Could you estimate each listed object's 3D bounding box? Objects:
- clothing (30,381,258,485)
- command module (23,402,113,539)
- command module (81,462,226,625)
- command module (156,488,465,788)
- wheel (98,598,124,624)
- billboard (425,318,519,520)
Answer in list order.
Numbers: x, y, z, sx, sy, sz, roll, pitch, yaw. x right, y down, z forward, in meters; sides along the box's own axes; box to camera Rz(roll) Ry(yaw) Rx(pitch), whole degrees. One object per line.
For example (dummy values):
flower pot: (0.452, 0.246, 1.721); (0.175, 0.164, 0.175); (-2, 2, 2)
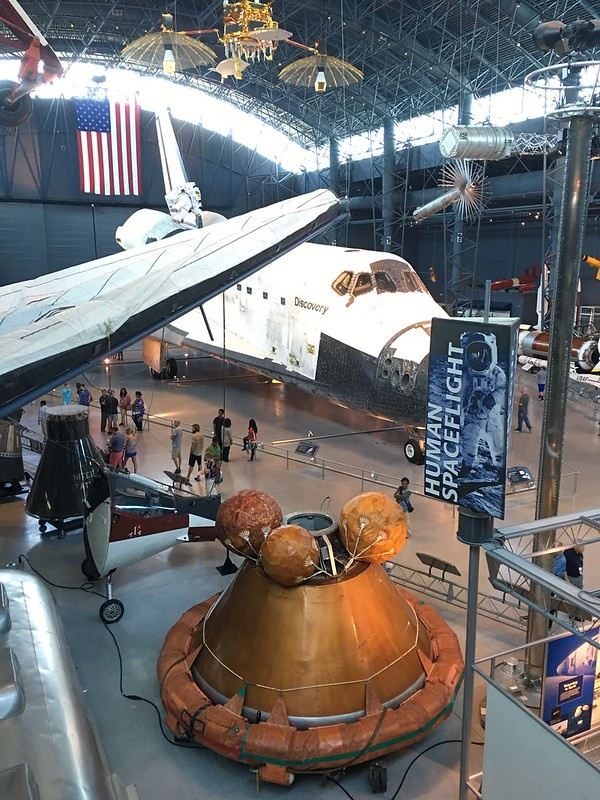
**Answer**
clothing: (-4.042, 0.871, 16.407); (7.571, 2.711, 2.051); (2, 13, -5)
command module: (-4.827, 1.348, 12.636); (2.101, 2.331, 2.041); (0, 9, -21)
command module: (-2.829, 2.224, 10.279); (2.969, 2.134, 1.700); (2, 3, -38)
command module: (0.079, 2.726, 7.482); (3.143, 2.267, 3.097); (-1, 6, -3)
wheel: (-2.817, 3.155, 9.252); (0.321, 0.314, 0.111); (19, -6, -42)
billboard: (1.439, 0.140, 5.343); (0.156, 1.664, 0.924); (-9, 14, -32)
